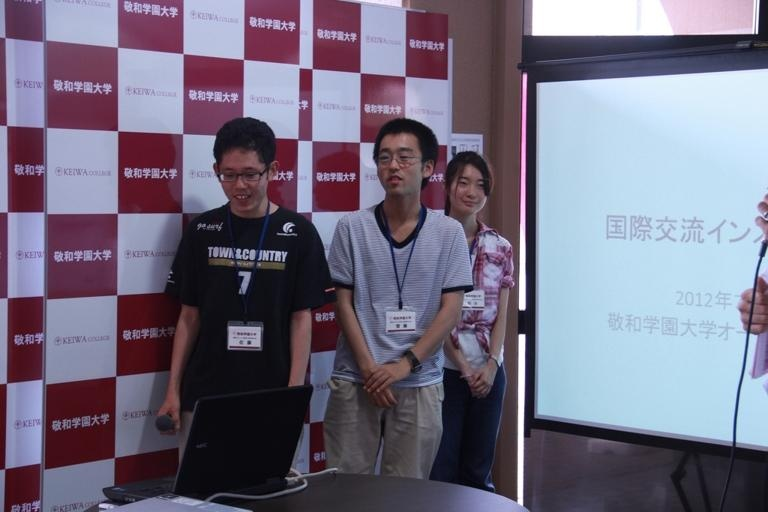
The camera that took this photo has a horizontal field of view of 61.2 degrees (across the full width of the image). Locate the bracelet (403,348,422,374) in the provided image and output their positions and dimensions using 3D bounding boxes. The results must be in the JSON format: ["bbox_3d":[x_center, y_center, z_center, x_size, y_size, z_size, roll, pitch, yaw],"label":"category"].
[{"bbox_3d":[0.133,0.502,3.089,0.051,0.092,0.088,-29,10,-21],"label":"bracelet"}]

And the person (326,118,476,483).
[{"bbox_3d":[0.070,0.191,3.222,0.710,1.735,0.487,1,8,10],"label":"person"}]

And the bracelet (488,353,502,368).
[{"bbox_3d":[0.611,0.585,3.587,0.064,0.094,0.033,-1,-21,16],"label":"bracelet"}]

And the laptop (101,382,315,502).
[{"bbox_3d":[-0.596,0.588,2.407,0.491,0.364,0.507,4,-1,44],"label":"laptop"}]
